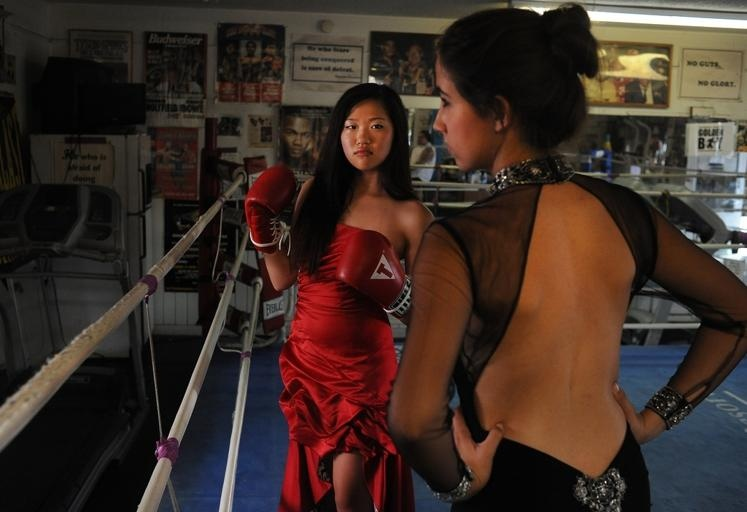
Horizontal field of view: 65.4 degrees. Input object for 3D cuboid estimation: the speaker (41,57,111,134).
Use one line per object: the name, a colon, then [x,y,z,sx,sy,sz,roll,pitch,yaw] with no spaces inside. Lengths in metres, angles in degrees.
speaker: [-2.398,-1.293,4.686,0.460,0.614,0.303,1,10,-21]

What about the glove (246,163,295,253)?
glove: [-0.444,-0.230,2.610,0.195,0.401,0.191,17,3,3]
